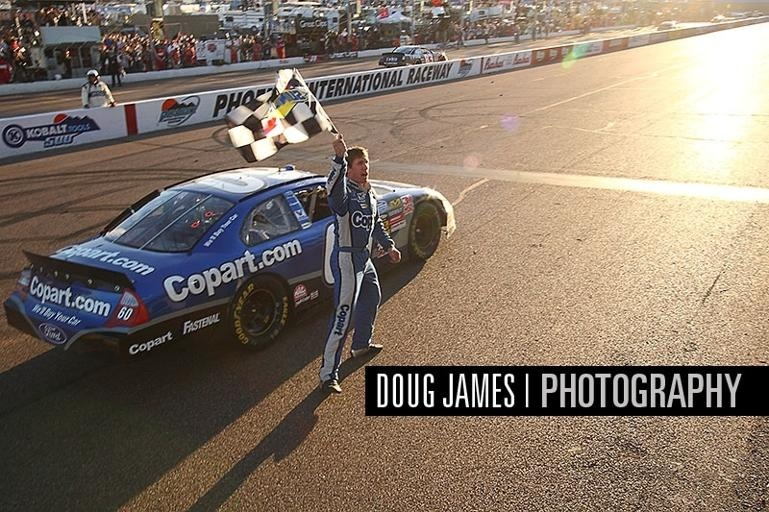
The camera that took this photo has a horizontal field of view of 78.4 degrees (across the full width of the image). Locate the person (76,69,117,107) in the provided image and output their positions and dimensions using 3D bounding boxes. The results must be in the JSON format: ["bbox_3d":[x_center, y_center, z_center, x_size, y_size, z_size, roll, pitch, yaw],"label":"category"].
[{"bbox_3d":[-9.978,-5.759,16.412,0.840,1.288,2.513,-13,22,-28],"label":"person"}]

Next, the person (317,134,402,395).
[{"bbox_3d":[-0.304,0.057,4.634,0.521,2.378,1.072,11,24,30],"label":"person"}]

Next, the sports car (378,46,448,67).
[{"bbox_3d":[1.947,-13.274,31.772,3.853,1.361,2.088,-9,20,-23],"label":"sports car"}]

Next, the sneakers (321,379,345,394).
[{"bbox_3d":[-0.486,1.261,4.608,0.196,0.122,0.166,-13,22,-31],"label":"sneakers"}]
